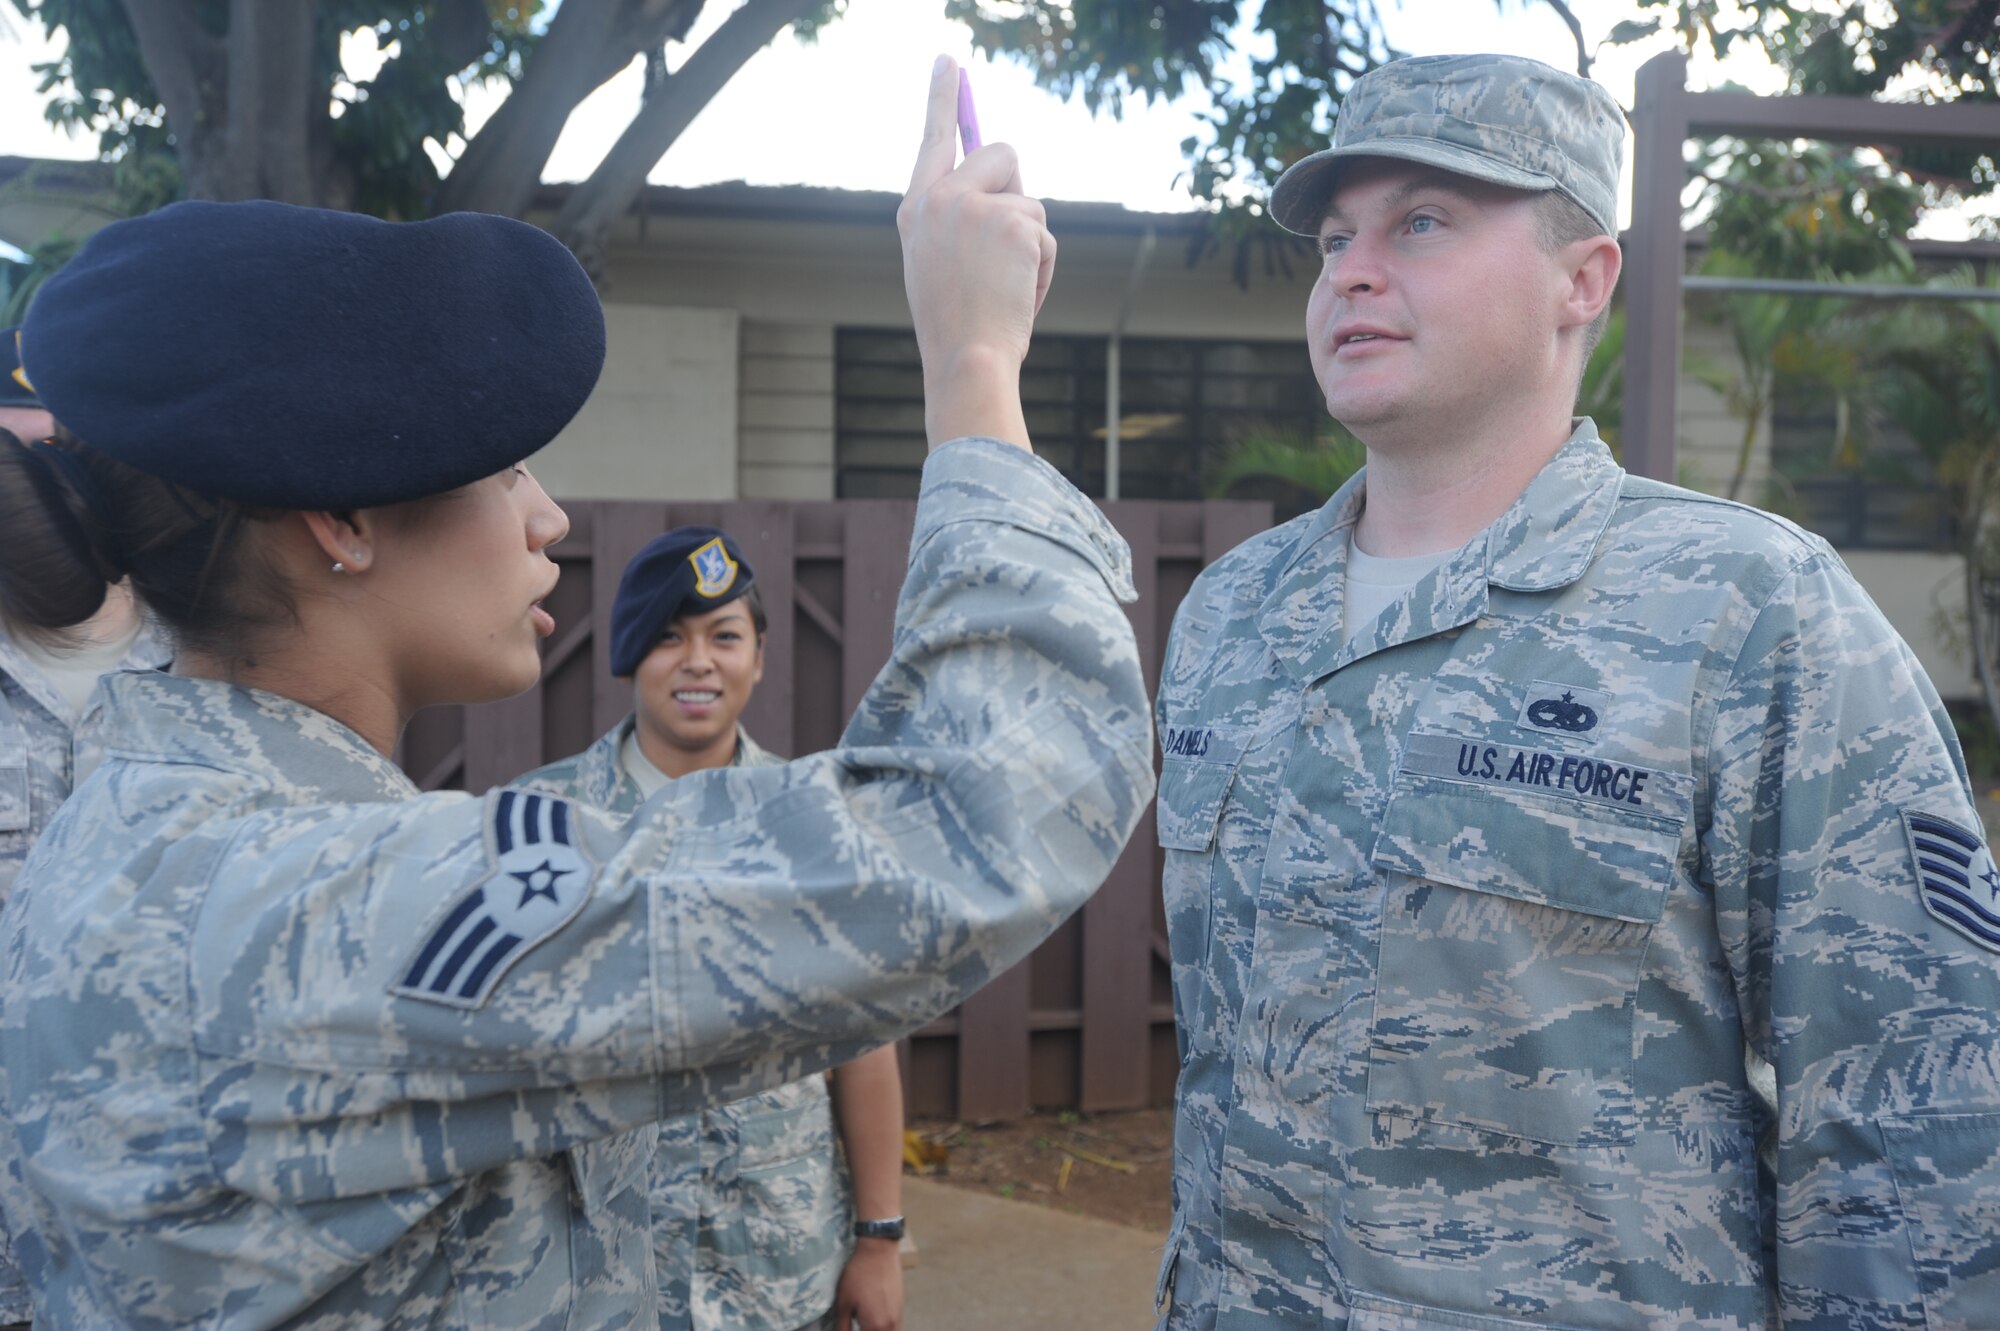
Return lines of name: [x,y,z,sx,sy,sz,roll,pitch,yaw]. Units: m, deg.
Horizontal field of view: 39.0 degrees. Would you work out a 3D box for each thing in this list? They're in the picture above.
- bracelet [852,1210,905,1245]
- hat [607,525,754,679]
bracelet: [-0.292,1.333,6.702,0.101,0.065,0.108,-3,-5,24]
hat: [-0.841,-0.194,7.175,0.392,0.220,0.314,-29,-3,32]
